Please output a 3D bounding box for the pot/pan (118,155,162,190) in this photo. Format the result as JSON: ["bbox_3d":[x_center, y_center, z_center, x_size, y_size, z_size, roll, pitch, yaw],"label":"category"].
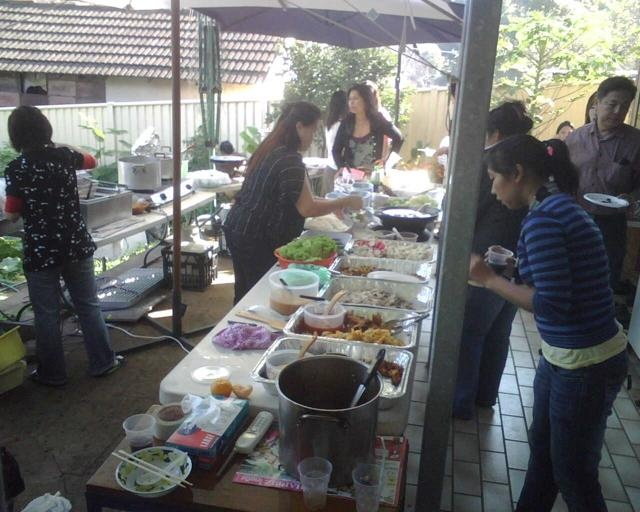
[{"bbox_3d":[-1.728,-0.800,4.983,0.307,0.235,0.404,3,8,14],"label":"pot/pan"}]

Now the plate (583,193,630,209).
[{"bbox_3d":[2.115,-0.411,3.782,0.221,0.038,0.226,-13,27,-31],"label":"plate"}]

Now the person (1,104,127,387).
[{"bbox_3d":[-1.880,-0.032,3.693,0.609,2.010,0.337,-11,21,-31],"label":"person"}]

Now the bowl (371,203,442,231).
[{"bbox_3d":[0.655,-0.308,3.775,0.545,0.165,0.415,6,16,19],"label":"bowl"}]

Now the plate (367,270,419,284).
[{"bbox_3d":[0.430,0.118,2.929,0.126,0.033,0.153,5,7,8],"label":"plate"}]

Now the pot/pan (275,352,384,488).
[{"bbox_3d":[-0.032,0.522,1.753,0.388,0.378,0.435,4,18,2],"label":"pot/pan"}]

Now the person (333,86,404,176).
[{"bbox_3d":[0.455,-1.401,5.813,0.695,1.087,0.640,-4,22,-17],"label":"person"}]

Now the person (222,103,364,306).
[{"bbox_3d":[-0.226,-0.356,3.614,0.712,1.485,0.719,-6,22,-30],"label":"person"}]

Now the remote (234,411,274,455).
[{"bbox_3d":[-0.227,0.591,1.757,0.050,0.039,0.204,9,24,16],"label":"remote"}]
